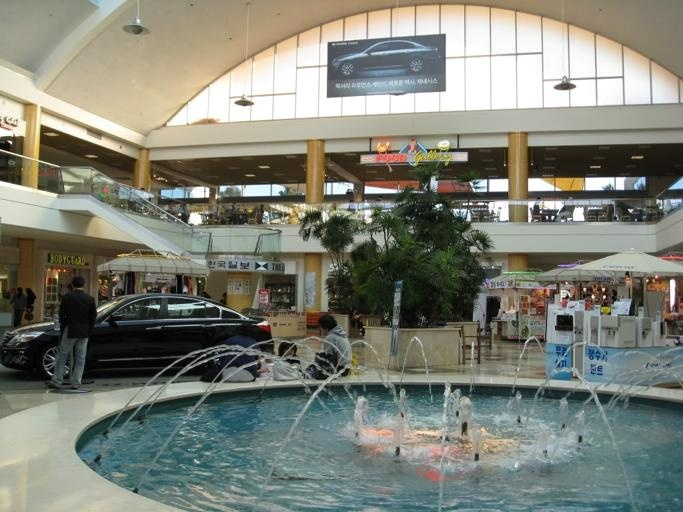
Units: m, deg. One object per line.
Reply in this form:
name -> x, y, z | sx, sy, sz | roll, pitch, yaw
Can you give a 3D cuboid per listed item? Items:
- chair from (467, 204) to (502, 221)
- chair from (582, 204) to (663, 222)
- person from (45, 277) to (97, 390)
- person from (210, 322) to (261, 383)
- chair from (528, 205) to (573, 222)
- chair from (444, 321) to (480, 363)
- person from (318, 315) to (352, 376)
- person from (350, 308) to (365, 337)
chair -> 6.552, -1.919, 25.317 | 1.493, 0.897, 0.756 | 2, -5, 6
chair -> 12.354, -1.884, 24.341 | 2.885, 0.780, 0.421 | -1, -6, 17
person -> -4.583, 1.307, 9.336 | 0.537, 1.907, 0.622 | 6, -8, -42
person -> -1.910, 1.795, 10.149 | 0.864, 0.940, 3.393 | 1, -5, -12
chair -> 9.522, -1.922, 25.167 | 1.588, 0.945, 0.812 | 0, 5, 5
chair -> 3.448, 2.296, 14.787 | 0.680, 0.790, 0.626 | -1, -2, 37
person -> -0.135, 1.680, 10.282 | 0.586, 1.187, 1.221 | 0, -6, 0
person -> 0.647, 2.690, 22.358 | 0.448, 1.089, 0.812 | 1, -6, -8
